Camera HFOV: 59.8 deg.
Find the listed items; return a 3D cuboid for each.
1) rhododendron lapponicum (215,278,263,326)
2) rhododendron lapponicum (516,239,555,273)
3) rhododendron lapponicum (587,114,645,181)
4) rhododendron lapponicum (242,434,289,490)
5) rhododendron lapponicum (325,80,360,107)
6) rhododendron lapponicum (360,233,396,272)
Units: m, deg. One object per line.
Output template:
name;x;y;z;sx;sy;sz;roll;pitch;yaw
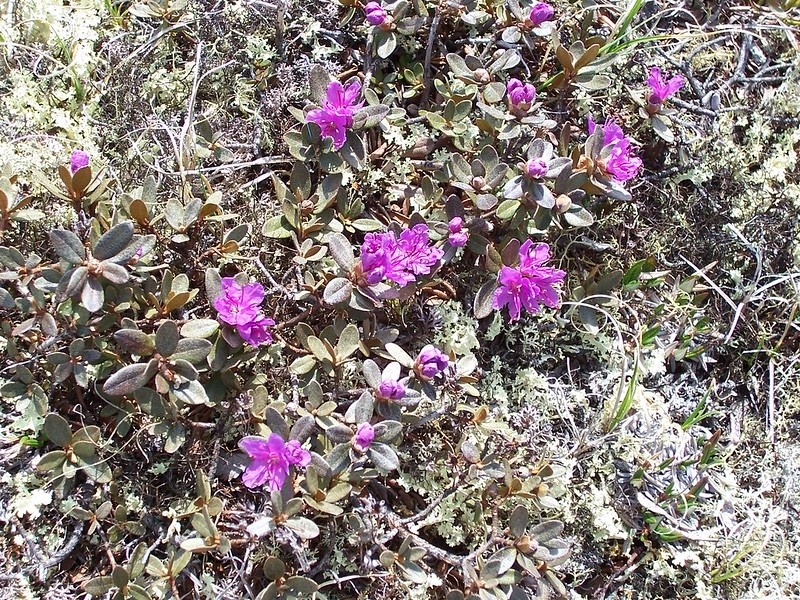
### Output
rhododendron lapponicum;-0.555;0.009;2.399;0.157;0.052;0.151;12;82;0
rhododendron lapponicum;0.489;-0.161;2.588;0.106;0.153;0.106;-6;82;-2
rhododendron lapponicum;0.842;-0.577;2.754;0.115;0.229;0.284;-25;98;10
rhododendron lapponicum;-0.463;0.566;2.445;0.185;0.330;0.193;-4;82;-2
rhododendron lapponicum;-0.207;-0.764;2.568;0.136;0.074;0.086;-15;83;-3
rhododendron lapponicum;-0.074;-0.175;2.474;0.120;0.084;0.127;0;82;-1
